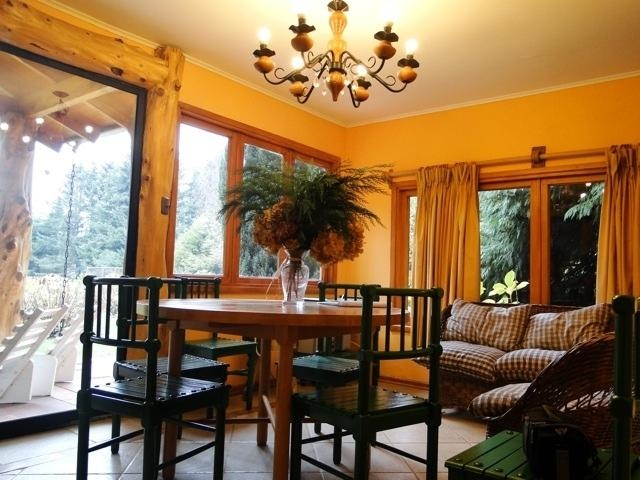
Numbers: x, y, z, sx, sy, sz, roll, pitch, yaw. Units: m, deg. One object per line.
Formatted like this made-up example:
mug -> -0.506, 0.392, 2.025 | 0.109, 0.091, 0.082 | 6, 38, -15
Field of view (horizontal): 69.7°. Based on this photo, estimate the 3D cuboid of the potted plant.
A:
potted plant -> -0.102, -0.081, 3.124 | 1.089, 0.889, 0.865 | 1, -6, 0

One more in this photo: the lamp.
lamp -> 0.151, -1.402, 3.272 | 1.124, 0.679, 1.089 | 1, -9, -1

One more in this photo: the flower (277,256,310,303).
flower -> -0.168, 0.261, 2.953 | 0.268, 0.400, 0.251 | 1, -8, 0
